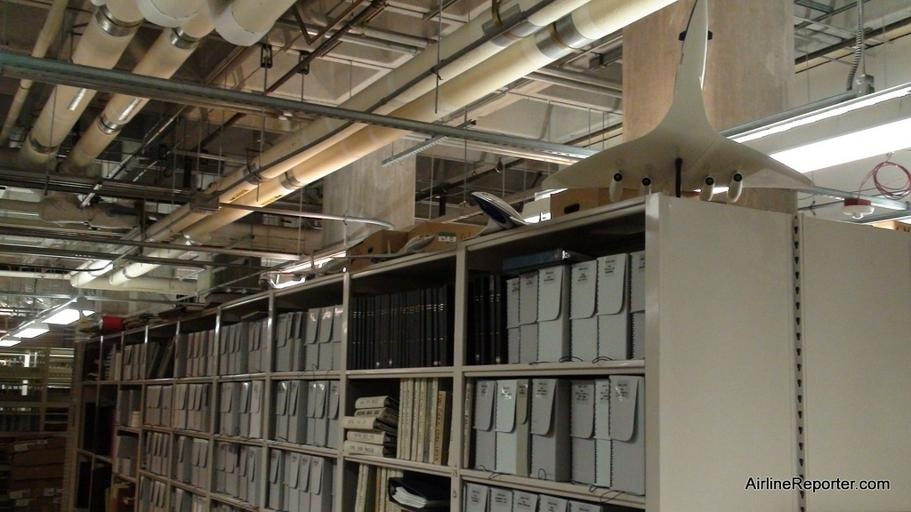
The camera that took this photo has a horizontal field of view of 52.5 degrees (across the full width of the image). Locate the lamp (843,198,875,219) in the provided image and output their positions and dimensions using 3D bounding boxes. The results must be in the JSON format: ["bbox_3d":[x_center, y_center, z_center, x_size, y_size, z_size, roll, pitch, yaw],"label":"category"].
[{"bbox_3d":[4.094,-0.502,9.439,0.274,0.177,0.257,5,-2,-9],"label":"lamp"}]

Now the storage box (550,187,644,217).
[{"bbox_3d":[0.866,-0.372,6.363,0.323,0.183,0.319,-1,-4,-9],"label":"storage box"}]

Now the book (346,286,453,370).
[{"bbox_3d":[-0.432,0.575,7.008,1.035,0.578,0.170,-11,-21,37],"label":"book"}]
